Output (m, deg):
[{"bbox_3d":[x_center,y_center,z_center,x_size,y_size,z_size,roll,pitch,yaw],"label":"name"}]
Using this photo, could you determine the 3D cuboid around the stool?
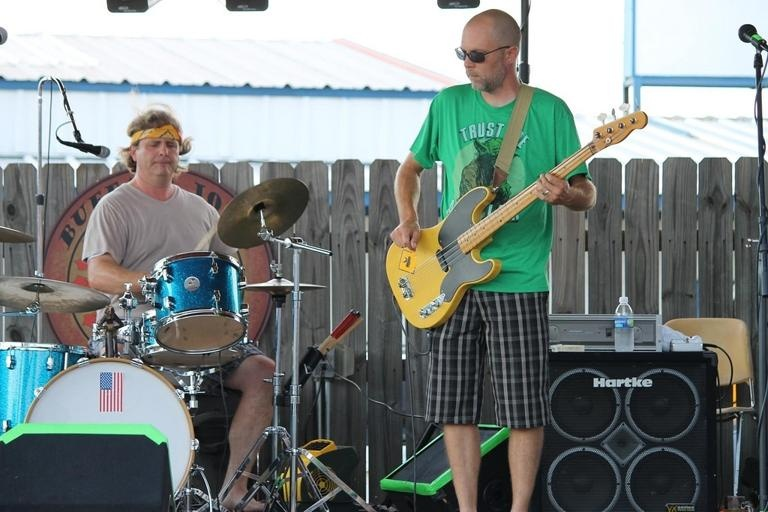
[{"bbox_3d":[-1.209,1.497,13.794,0.840,0.915,0.533,1,-4,11],"label":"stool"}]

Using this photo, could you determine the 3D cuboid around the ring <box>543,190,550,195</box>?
[{"bbox_3d":[1.171,-0.442,12.566,0.044,0.032,0.009,2,-1,8],"label":"ring"}]

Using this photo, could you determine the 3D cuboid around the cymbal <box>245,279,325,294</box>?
[{"bbox_3d":[-0.770,0.245,13.442,0.628,0.122,0.586,2,-1,-2],"label":"cymbal"}]

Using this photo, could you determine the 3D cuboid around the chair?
[{"bbox_3d":[2.615,1.226,14.005,0.770,1.512,0.629,1,-8,-7],"label":"chair"}]

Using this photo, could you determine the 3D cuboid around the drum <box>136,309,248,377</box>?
[{"bbox_3d":[-1.572,0.657,13.245,0.582,0.586,0.946,-4,0,13],"label":"drum"}]

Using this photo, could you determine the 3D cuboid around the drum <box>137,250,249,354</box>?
[{"bbox_3d":[-1.426,0.358,13.038,0.784,0.760,0.292,2,-1,-8],"label":"drum"}]

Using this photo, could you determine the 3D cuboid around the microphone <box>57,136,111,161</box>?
[{"bbox_3d":[-2.334,-0.825,13.507,0.389,0.140,0.207,16,16,5],"label":"microphone"}]
